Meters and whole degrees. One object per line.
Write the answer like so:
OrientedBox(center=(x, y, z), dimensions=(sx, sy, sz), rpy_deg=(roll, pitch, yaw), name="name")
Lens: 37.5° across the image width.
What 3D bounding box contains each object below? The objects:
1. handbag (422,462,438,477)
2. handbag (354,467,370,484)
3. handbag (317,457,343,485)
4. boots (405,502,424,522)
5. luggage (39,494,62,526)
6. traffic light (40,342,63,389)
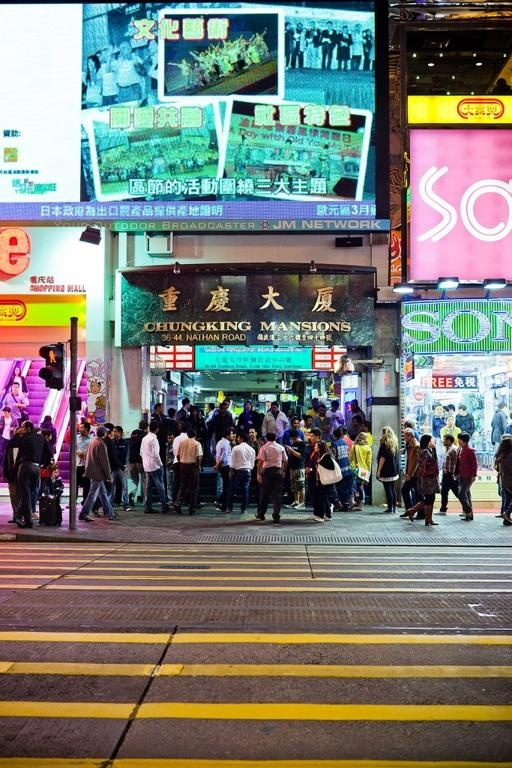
OrientedBox(center=(2.868, 1.412, 12.332), dimensions=(0.226, 0.238, 0.183), rpy_deg=(0, -14, 8), name="handbag")
OrientedBox(center=(2.079, 1.787, 14.887), dimensions=(0.325, 0.299, 0.274), rpy_deg=(0, -1, -27), name="handbag")
OrientedBox(center=(1.201, 1.460, 12.409), dimensions=(0.373, 0.463, 0.311), rpy_deg=(-1, -1, 9), name="handbag")
OrientedBox(center=(2.760, 2.205, 13.028), dimensions=(0.293, 0.251, 0.738), rpy_deg=(-12, 1, 10), name="boots")
OrientedBox(center=(-3.356, 2.081, 12.301), dimensions=(0.346, 0.478, 0.398), rpy_deg=(0, -1, -19), name="luggage")
OrientedBox(center=(-3.251, -0.292, 12.035), dimensions=(0.364, 0.738, 0.576), rpy_deg=(0, -1, -16), name="traffic light")
